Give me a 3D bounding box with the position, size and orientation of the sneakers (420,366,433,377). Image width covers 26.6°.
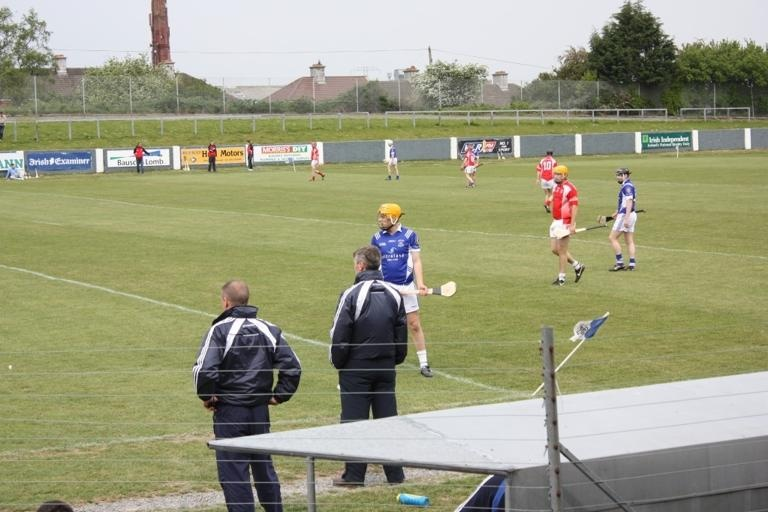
[{"bbox_3d":[1.682,4.456,62.280,0.305,0.204,0.492,0,-1,-17],"label":"sneakers"}]

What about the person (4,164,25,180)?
[{"bbox_3d":[-20.758,-4.794,92.785,1.158,0.750,0.362,-7,6,-44],"label":"person"}]

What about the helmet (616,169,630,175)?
[{"bbox_3d":[10.045,-3.480,68.532,0.475,0.289,0.284,-3,5,-5],"label":"helmet"}]
